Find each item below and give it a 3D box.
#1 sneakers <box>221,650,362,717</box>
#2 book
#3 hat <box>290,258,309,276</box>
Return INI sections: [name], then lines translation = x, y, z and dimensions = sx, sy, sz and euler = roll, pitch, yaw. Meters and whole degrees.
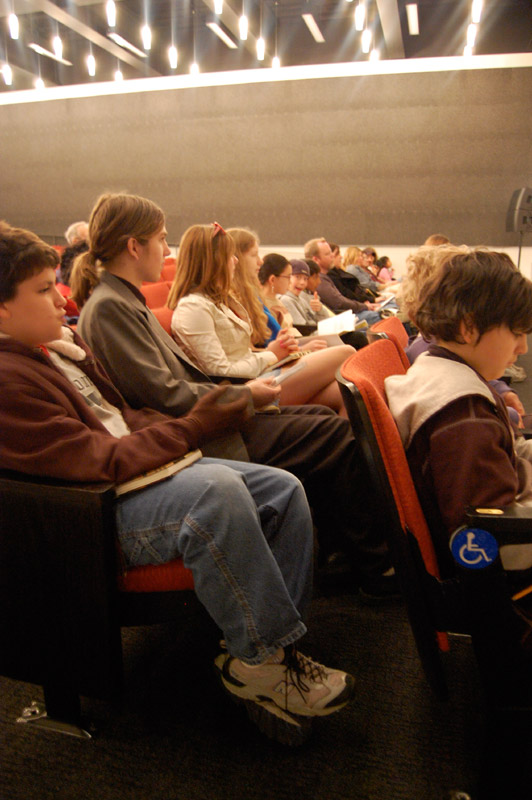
[sneakers]
translation = 0.051, 0.528, 1.185
dimensions = 0.255, 0.113, 0.112
euler = 3, 21, 7
[book]
translation = -0.200, 0.139, 1.133
dimensions = 0.082, 0.021, 0.083
euler = -30, -2, 31
[hat]
translation = 0.266, -0.998, 4.561
dimensions = 0.142, 0.108, 0.145
euler = 20, 22, 32
